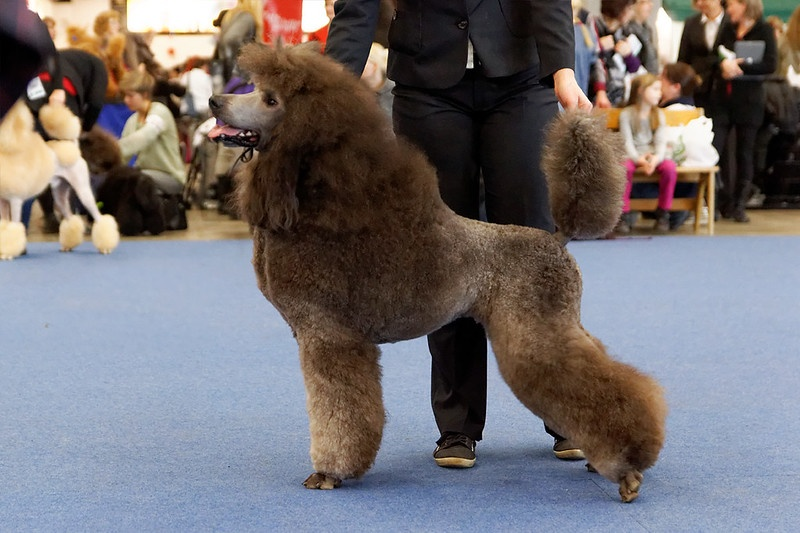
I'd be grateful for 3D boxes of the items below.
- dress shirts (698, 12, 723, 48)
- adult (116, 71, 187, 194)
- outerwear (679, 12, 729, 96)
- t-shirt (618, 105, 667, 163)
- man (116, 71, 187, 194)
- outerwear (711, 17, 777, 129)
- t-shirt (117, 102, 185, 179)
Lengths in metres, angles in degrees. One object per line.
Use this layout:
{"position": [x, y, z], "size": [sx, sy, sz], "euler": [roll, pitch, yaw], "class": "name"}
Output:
{"position": [3.448, -2.586, 11.586], "size": [0.271, 0.332, 0.365], "euler": [5, -26, 4], "class": "dress shirts"}
{"position": [-2.712, -1.431, 11.290], "size": [0.614, 1.337, 0.806], "euler": [-1, 6, 1], "class": "adult"}
{"position": [3.417, -2.339, 11.714], "size": [0.493, 0.875, 0.323], "euler": [5, 6, 45], "class": "outerwear"}
{"position": [2.427, -1.266, 10.285], "size": [0.476, 0.578, 0.449], "euler": [4, 22, 25], "class": "t-shirt"}
{"position": [-2.706, -1.431, 11.289], "size": [0.619, 1.337, 0.808], "euler": [-2, 6, -1], "class": "man"}
{"position": [3.640, -2.072, 11.194], "size": [0.740, 1.227, 0.600], "euler": [12, 24, 34], "class": "outerwear"}
{"position": [-2.797, -1.299, 11.463], "size": [0.818, 0.957, 0.757], "euler": [-9, 7, -37], "class": "t-shirt"}
